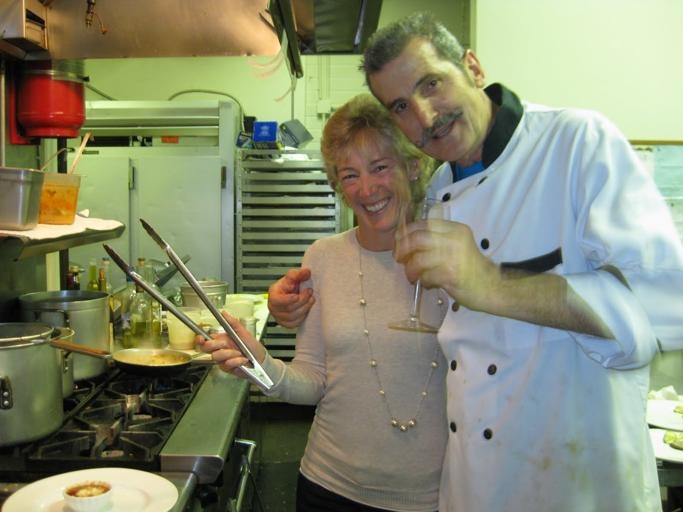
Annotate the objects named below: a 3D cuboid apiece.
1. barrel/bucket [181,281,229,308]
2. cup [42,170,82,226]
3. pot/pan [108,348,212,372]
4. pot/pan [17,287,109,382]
[{"bbox_3d":[-0.593,0.165,2.717,0.175,0.128,0.182,0,-3,0],"label":"barrel/bucket"},{"bbox_3d":[-0.775,-0.153,1.745,0.074,0.149,0.187,3,11,1],"label":"cup"},{"bbox_3d":[-0.578,0.336,2.066,0.246,0.033,0.147,4,0,-35],"label":"pot/pan"},{"bbox_3d":[-0.844,0.238,2.029,0.274,0.286,0.279,0,0,21],"label":"pot/pan"}]
